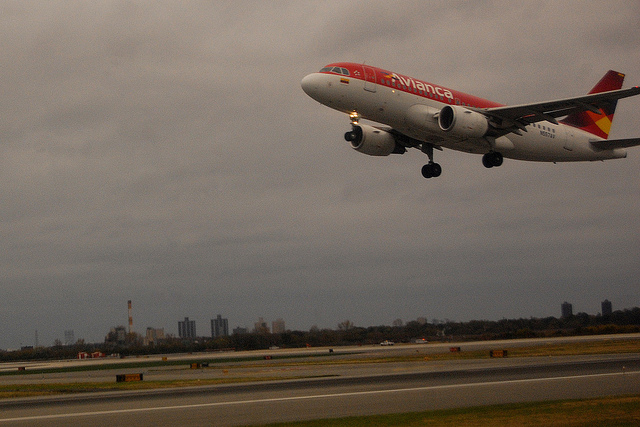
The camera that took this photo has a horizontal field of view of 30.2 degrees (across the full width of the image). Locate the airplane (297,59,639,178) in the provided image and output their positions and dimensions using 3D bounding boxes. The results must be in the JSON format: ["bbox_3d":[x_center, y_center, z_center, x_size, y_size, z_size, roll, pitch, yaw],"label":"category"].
[{"bbox_3d":[15.228,-9.815,129.790,21.884,8.154,22.817,17,-20,-20],"label":"airplane"}]
